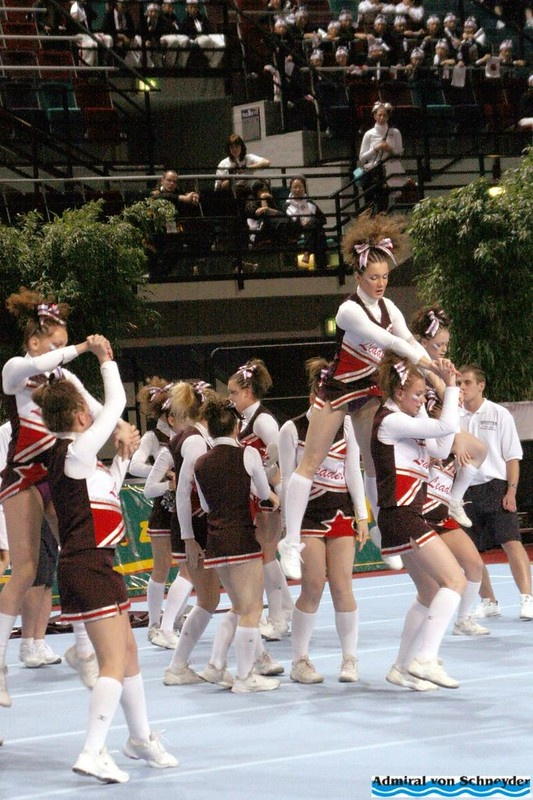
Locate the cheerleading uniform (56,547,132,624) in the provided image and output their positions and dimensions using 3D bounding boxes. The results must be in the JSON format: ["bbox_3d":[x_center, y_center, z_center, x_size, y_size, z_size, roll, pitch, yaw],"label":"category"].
[{"bbox_3d":[-0.680,0.669,3.670,0.252,0.376,0.420,-8,-9,-18],"label":"cheerleading uniform"}]

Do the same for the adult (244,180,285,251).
[{"bbox_3d":[-0.011,-2.587,13.537,0.531,0.972,0.598,-8,18,-16],"label":"adult"}]

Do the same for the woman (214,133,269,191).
[{"bbox_3d":[-0.427,-3.445,14.487,0.893,1.032,0.623,-6,9,-11],"label":"woman"}]

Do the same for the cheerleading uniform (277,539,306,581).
[{"bbox_3d":[0.135,0.810,4.891,0.117,0.088,0.257,-33,37,9],"label":"cheerleading uniform"}]

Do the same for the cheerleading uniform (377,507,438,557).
[{"bbox_3d":[0.677,0.643,4.681,0.180,0.188,0.294,-25,7,-24],"label":"cheerleading uniform"}]

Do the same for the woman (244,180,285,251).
[{"bbox_3d":[0.015,-2.592,13.544,0.514,0.971,0.601,-10,18,-20],"label":"woman"}]

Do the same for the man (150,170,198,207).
[{"bbox_3d":[-1.217,-2.851,13.017,0.605,0.475,0.732,-6,10,-2],"label":"man"}]

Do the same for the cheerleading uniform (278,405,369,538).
[{"bbox_3d":[0.332,0.413,5.547,0.512,0.804,0.249,-6,10,-13],"label":"cheerleading uniform"}]

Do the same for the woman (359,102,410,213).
[{"bbox_3d":[1.629,-3.522,13.834,0.685,1.587,1.123,-5,11,8],"label":"woman"}]

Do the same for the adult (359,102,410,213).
[{"bbox_3d":[1.629,-3.523,13.836,0.685,1.587,1.109,-5,11,8],"label":"adult"}]

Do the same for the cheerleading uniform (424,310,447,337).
[{"bbox_3d":[0.937,-0.423,5.376,0.042,0.129,0.125,-8,38,25],"label":"cheerleading uniform"}]

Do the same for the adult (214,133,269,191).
[{"bbox_3d":[-0.418,-3.448,14.472,0.904,1.009,0.639,-5,9,-11],"label":"adult"}]

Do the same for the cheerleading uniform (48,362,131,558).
[{"bbox_3d":[-0.659,0.231,3.685,0.244,0.636,0.427,1,13,33],"label":"cheerleading uniform"}]

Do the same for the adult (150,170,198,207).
[{"bbox_3d":[-1.217,-2.850,13.013,0.605,0.475,0.724,-6,10,-2],"label":"adult"}]

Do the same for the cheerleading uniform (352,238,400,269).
[{"bbox_3d":[0.543,-0.747,4.851,0.200,0.144,0.032,-5,-14,-21],"label":"cheerleading uniform"}]
